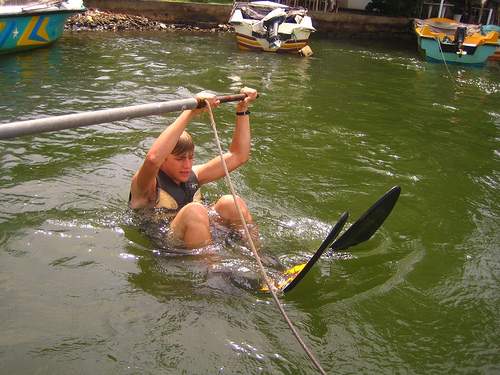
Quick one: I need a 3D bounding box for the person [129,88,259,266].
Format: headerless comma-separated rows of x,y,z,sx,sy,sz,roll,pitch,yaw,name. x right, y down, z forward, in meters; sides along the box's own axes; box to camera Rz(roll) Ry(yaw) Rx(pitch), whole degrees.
-0.588,-0.217,5.073,1.203,1.705,1.183,11,22,15,person

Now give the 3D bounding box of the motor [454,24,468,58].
7.681,-5.448,17.116,0.709,1.104,0.321,3,2,1,motor

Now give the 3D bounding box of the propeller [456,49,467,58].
7.640,-4.918,16.909,0.297,0.239,0.081,-7,1,-1,propeller

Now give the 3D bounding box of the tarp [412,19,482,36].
8.038,-6.681,19.181,1.790,0.504,2.299,-1,24,-1,tarp

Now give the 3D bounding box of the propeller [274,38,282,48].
0.950,-5.015,15.985,0.204,0.299,0.543,9,19,9,propeller
